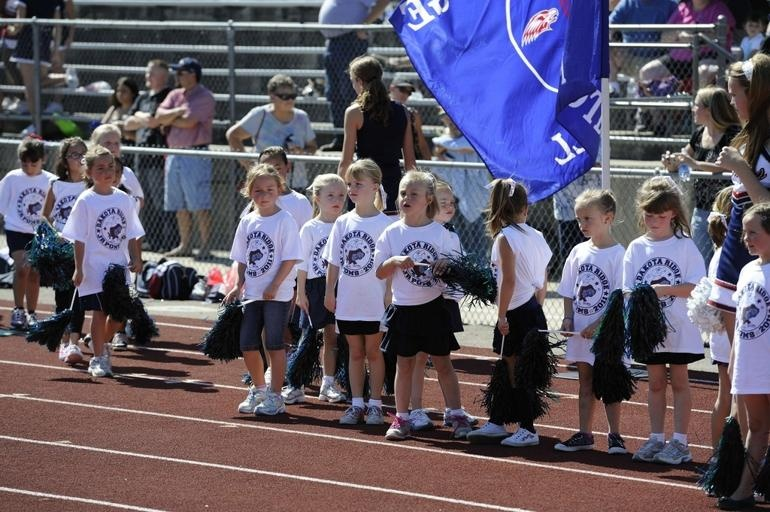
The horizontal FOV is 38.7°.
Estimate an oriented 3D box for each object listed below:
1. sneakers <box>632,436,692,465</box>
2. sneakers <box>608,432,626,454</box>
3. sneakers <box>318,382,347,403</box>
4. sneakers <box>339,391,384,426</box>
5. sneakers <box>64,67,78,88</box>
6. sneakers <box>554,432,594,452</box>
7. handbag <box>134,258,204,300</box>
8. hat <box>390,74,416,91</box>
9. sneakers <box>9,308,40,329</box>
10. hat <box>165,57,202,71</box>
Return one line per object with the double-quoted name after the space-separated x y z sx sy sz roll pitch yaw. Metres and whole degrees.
2.019 1.428 7.973 0.312 0.135 0.207 9 -12 -42 "sneakers"
1.735 1.401 8.209 0.137 0.157 0.226 3 -1 11 "sneakers"
-0.461 1.180 9.389 0.116 0.147 0.264 0 -2 -43 "sneakers"
-0.172 1.237 8.689 0.156 0.219 0.458 -1 -10 37 "sneakers"
-4.295 -2.455 15.005 0.141 0.254 0.246 -5 33 -9 "sneakers"
1.426 1.403 8.280 0.322 0.160 0.125 1 -2 -9 "sneakers"
-2.526 0.291 12.687 0.488 0.402 0.509 0 -9 12 "handbag"
0.199 -2.025 12.866 0.239 0.194 0.393 14 7 -15 "hat"
-3.688 0.620 11.140 0.205 0.268 0.561 3 -3 -37 "sneakers"
-2.343 -2.262 12.899 0.302 0.170 0.205 1 11 -11 "hat"
